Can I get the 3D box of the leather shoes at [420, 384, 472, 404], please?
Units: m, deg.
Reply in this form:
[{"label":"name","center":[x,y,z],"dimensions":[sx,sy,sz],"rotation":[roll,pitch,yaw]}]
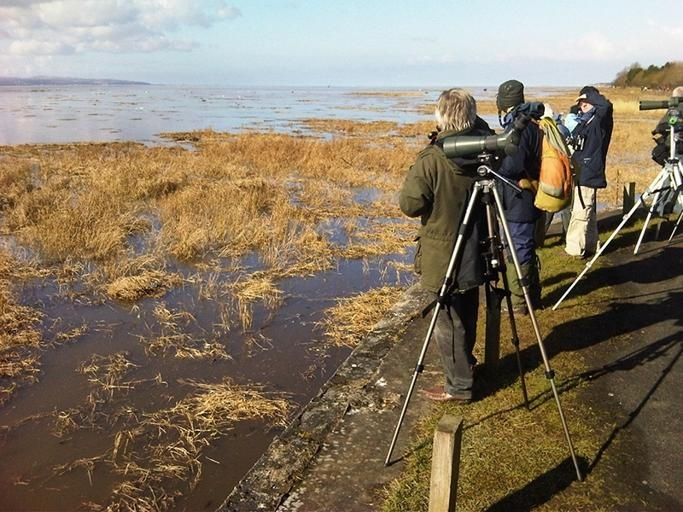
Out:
[{"label":"leather shoes","center":[1.101,1.420,5.610],"dimensions":[0.463,0.142,0.192],"rotation":[5,-3,21]}]
